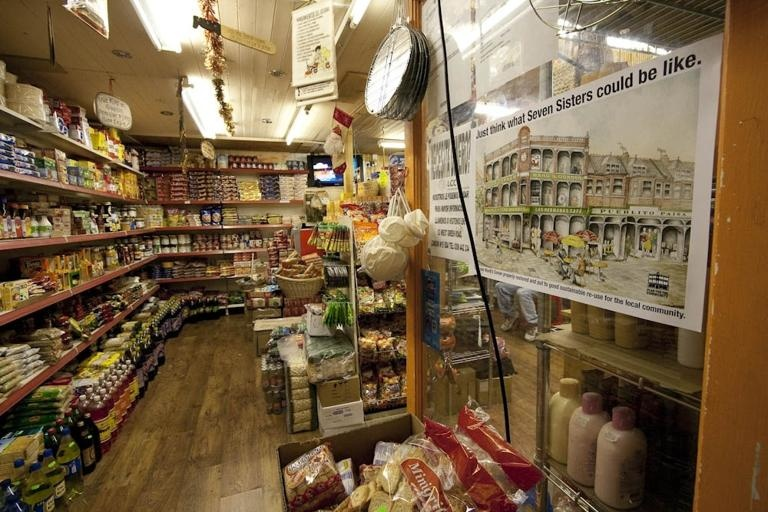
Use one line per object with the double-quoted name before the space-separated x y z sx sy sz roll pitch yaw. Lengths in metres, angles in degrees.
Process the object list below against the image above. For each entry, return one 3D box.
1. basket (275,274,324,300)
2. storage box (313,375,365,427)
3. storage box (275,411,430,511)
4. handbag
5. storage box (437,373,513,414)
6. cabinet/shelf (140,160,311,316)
"basket" -0.919 0.323 5.287 0.347 0.152 0.352 0 2 14
"storage box" -0.341 1.093 3.773 0.360 0.357 0.223 -4 6 -1
"storage box" -0.127 0.886 2.419 0.514 0.199 0.358 -9 2 -20
"handbag" 0.049 -0.095 2.461 0.217 0.464 0.399 -5 7 -29
"storage box" 0.381 0.611 2.258 0.276 0.189 0.273 -1 2 -9
"cabinet/shelf" -2.410 -0.250 7.086 2.347 1.293 0.319 -4 10 -29
